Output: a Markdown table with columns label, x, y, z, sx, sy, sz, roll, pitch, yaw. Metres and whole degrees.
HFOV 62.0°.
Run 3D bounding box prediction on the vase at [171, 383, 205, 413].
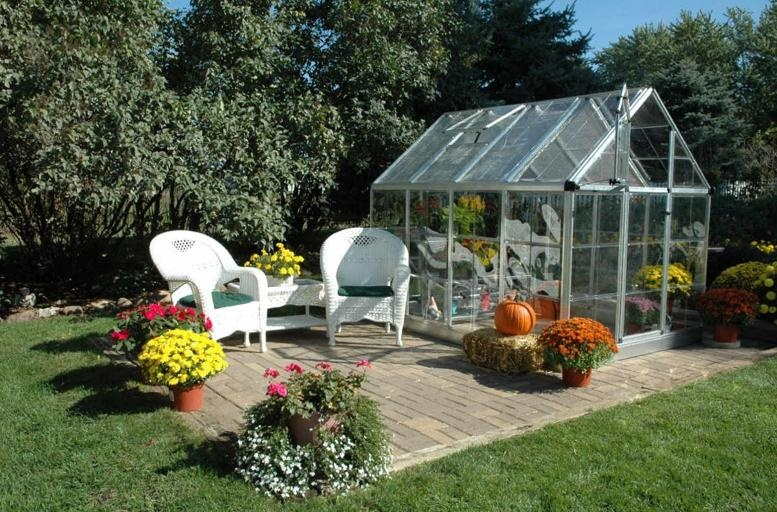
| label | x | y | z | sx | sy | sz | roll | pitch | yaw |
| --- | --- | --- | --- | --- | --- | --- | --- | --- | --- |
| vase | -2.437 | 1.743 | 7.936 | 0.337 | 0.270 | 0.356 | 1 | -1 | -41 |

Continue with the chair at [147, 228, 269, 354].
| label | x | y | z | sx | sy | sz | roll | pitch | yaw |
| --- | --- | --- | --- | --- | --- | --- | --- | --- | --- |
| chair | -2.617 | 0.478 | 10.252 | 1.850 | 2.312 | 1.751 | 4 | 6 | 44 |

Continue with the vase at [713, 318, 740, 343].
| label | x | y | z | sx | sy | sz | roll | pitch | yaw |
| --- | --- | --- | --- | --- | --- | --- | --- | --- | --- |
| vase | 5.247 | 1.158 | 10.079 | 0.336 | 0.279 | 0.368 | 1 | 0 | 12 |

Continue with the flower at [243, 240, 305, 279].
| label | x | y | z | sx | sy | sz | roll | pitch | yaw |
| --- | --- | --- | --- | --- | --- | --- | --- | --- | --- |
| flower | -1.858 | 0.118 | 10.668 | 0.893 | 0.561 | 1.006 | -1 | 6 | -17 |

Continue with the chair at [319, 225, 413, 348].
| label | x | y | z | sx | sy | sz | roll | pitch | yaw |
| --- | --- | --- | --- | --- | --- | --- | --- | --- | --- |
| chair | -0.414 | 0.494 | 10.916 | 1.782 | 2.299 | 1.704 | 0 | 0 | -3 |

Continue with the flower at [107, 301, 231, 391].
| label | x | y | z | sx | sy | sz | roll | pitch | yaw |
| --- | --- | --- | --- | --- | --- | --- | --- | --- | --- |
| flower | -2.660 | 1.357 | 8.060 | 1.177 | 0.752 | 1.217 | 26 | 21 | 25 |

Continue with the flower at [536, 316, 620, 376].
| label | x | y | z | sx | sy | sz | roll | pitch | yaw |
| --- | --- | --- | --- | --- | --- | --- | --- | --- | --- |
| flower | 2.474 | 1.150 | 8.407 | 0.762 | 0.568 | 0.820 | -2 | 6 | -3 |

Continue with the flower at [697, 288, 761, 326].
| label | x | y | z | sx | sy | sz | roll | pitch | yaw |
| --- | --- | --- | --- | --- | --- | --- | --- | --- | --- |
| flower | 5.183 | 0.776 | 9.906 | 0.601 | 0.464 | 0.647 | -1 | 5 | 5 |

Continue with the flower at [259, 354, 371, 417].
| label | x | y | z | sx | sy | sz | roll | pitch | yaw |
| --- | --- | --- | --- | --- | --- | --- | --- | --- | --- |
| flower | -0.765 | 1.430 | 6.876 | 1.012 | 0.468 | 0.536 | -1 | 14 | -6 |

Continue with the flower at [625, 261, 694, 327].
| label | x | y | z | sx | sy | sz | roll | pitch | yaw |
| --- | --- | --- | --- | --- | --- | --- | --- | --- | --- |
| flower | 4.042 | 0.428 | 10.239 | 1.225 | 1.289 | 0.919 | 0 | 2 | -22 |

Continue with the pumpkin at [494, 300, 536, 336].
| label | x | y | z | sx | sy | sz | roll | pitch | yaw |
| --- | --- | --- | --- | --- | --- | --- | --- | --- | --- |
| pumpkin | 1.778 | 0.833 | 9.172 | 0.484 | 0.458 | 0.487 | 1 | 6 | -10 |

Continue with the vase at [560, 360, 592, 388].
| label | x | y | z | sx | sy | sz | roll | pitch | yaw |
| --- | --- | --- | --- | --- | --- | --- | --- | --- | --- |
| vase | 2.474 | 1.549 | 8.533 | 0.329 | 0.249 | 0.328 | 3 | -4 | -28 |
